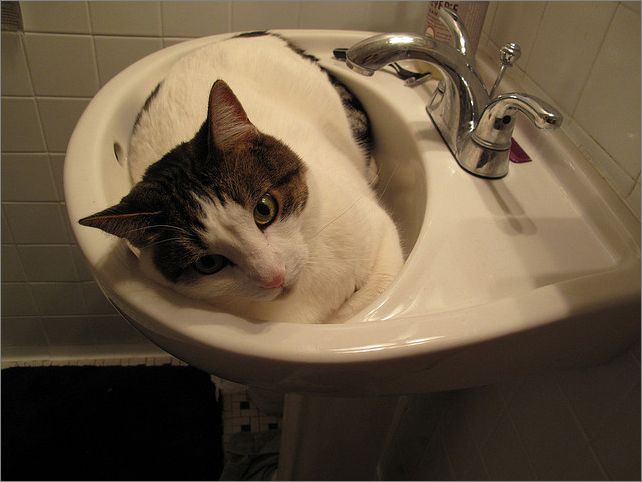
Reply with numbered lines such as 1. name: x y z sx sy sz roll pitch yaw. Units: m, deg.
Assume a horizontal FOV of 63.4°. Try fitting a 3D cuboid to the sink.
1. sink: -0.094 -0.164 0.886 0.469 0.280 0.522 4 44 0
